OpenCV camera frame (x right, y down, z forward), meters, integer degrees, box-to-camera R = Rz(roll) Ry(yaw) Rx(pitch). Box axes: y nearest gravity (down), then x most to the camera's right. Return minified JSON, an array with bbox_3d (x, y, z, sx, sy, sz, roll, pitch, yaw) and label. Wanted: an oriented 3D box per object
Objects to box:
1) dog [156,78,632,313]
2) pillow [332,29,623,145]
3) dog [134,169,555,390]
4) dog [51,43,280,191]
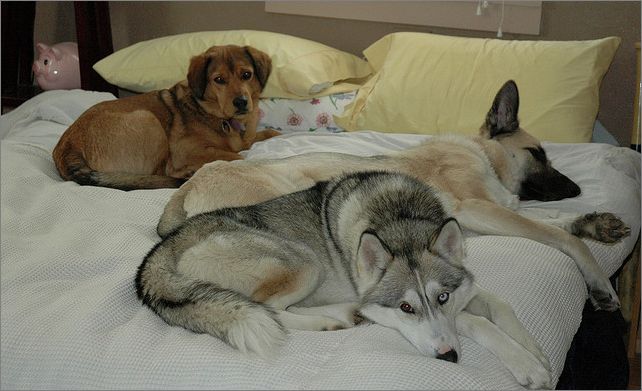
[{"bbox_3d":[0.659,-0.053,2.633,2.599,1.350,0.786,-2,23,-8],"label":"dog"},{"bbox_3d":[0.922,-0.657,3.070,1.007,0.276,0.951,-1,49,24],"label":"pillow"},{"bbox_3d":[0.067,0.259,1.889,1.478,0.490,0.635,8,29,11],"label":"dog"},{"bbox_3d":[-0.866,-0.409,3.015,1.111,0.605,0.706,-8,22,-7],"label":"dog"}]
